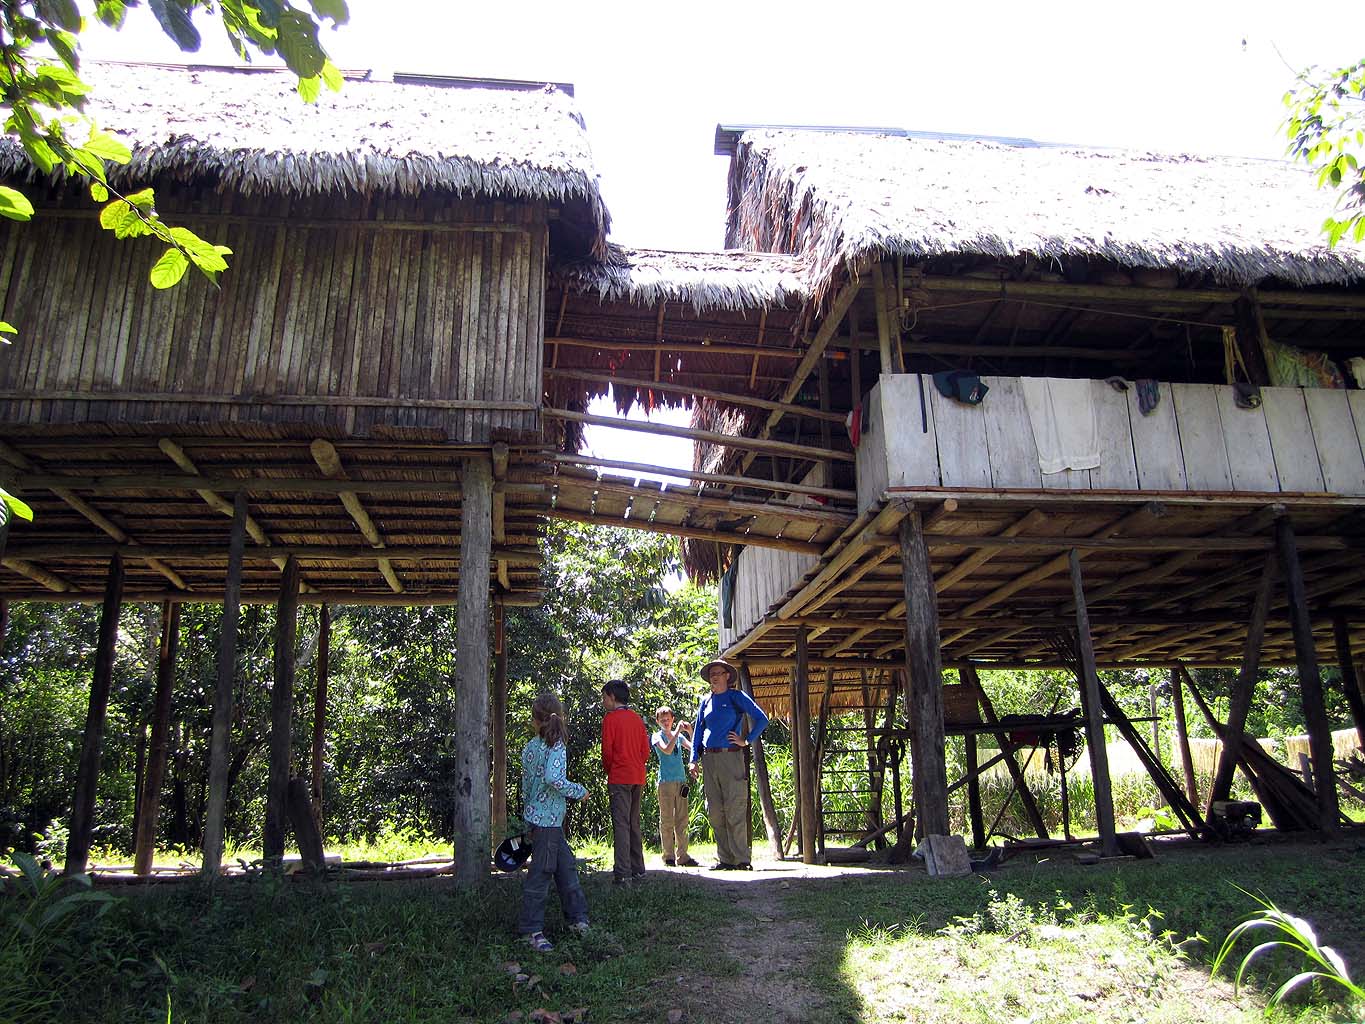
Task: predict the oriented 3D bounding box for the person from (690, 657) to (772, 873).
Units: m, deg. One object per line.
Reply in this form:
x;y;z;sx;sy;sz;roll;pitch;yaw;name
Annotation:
0.479;2.695;10.784;0.764;2.212;1.063;-2;-17;0;person

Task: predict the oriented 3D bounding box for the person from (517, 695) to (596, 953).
-1.011;2.444;7.922;0.519;1.890;0.763;-1;-17;-6;person

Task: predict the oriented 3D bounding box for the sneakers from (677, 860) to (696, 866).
0.049;4.055;11.549;0.200;0.094;0.071;1;-6;-2;sneakers

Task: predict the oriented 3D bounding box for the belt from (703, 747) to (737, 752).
0.409;2.517;10.603;0.361;0.059;0.091;-6;-19;9;belt
